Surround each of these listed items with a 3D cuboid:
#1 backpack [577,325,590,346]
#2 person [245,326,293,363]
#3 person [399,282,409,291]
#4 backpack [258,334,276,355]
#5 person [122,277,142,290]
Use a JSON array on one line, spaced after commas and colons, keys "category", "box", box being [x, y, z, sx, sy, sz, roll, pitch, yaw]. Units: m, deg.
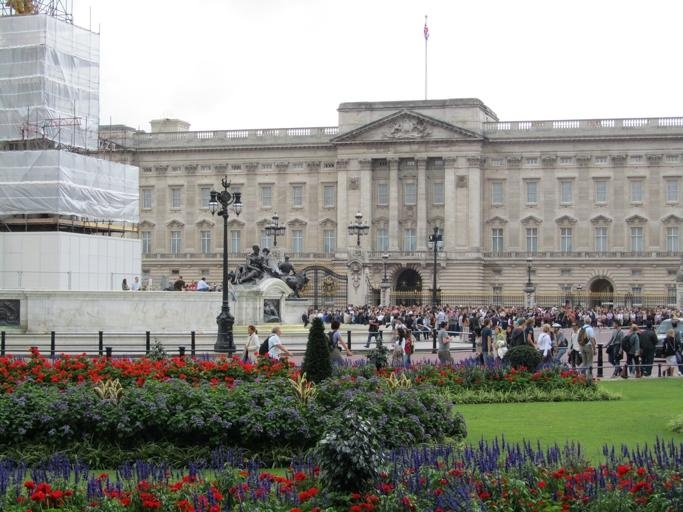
[{"category": "backpack", "box": [8.034, 2.594, 53.956, 0.340, 0.705, 0.800, 0, 5, -14]}, {"category": "person", "box": [-2.416, 2.848, 53.064, 0.954, 0.610, 1.313, -11, -44, -10]}, {"category": "person", "box": [4.135, 1.934, 108.838, 0.537, 0.968, 0.533, 2, 4, 11]}, {"category": "backpack", "box": [-2.175, 2.728, 49.689, 0.627, 0.581, 0.400, 3, -6, -10]}, {"category": "person", "box": [-8.470, 1.064, 65.531, 0.971, 0.574, 0.442, -2, 2, 15]}]
